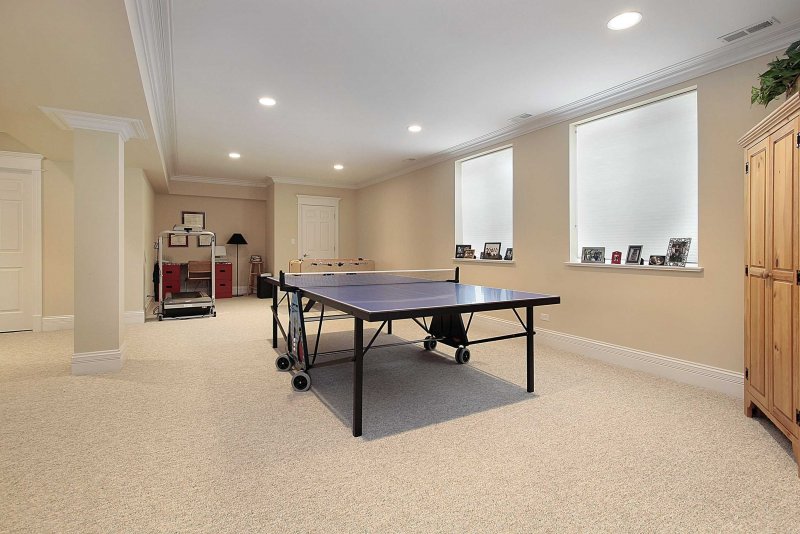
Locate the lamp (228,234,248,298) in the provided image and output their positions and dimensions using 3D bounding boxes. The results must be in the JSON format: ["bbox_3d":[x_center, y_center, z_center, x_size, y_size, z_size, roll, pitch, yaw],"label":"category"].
[{"bbox_3d":[-3.539,-0.066,11.049,0.425,1.352,0.389,-1,2,-18],"label":"lamp"}]

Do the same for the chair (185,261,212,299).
[{"bbox_3d":[-4.145,0.312,10.514,0.571,0.901,0.635,-4,7,-38],"label":"chair"}]

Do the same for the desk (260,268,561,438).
[{"bbox_3d":[-0.156,0.717,5.724,2.515,1.374,3.047,-1,2,-15],"label":"desk"}]
